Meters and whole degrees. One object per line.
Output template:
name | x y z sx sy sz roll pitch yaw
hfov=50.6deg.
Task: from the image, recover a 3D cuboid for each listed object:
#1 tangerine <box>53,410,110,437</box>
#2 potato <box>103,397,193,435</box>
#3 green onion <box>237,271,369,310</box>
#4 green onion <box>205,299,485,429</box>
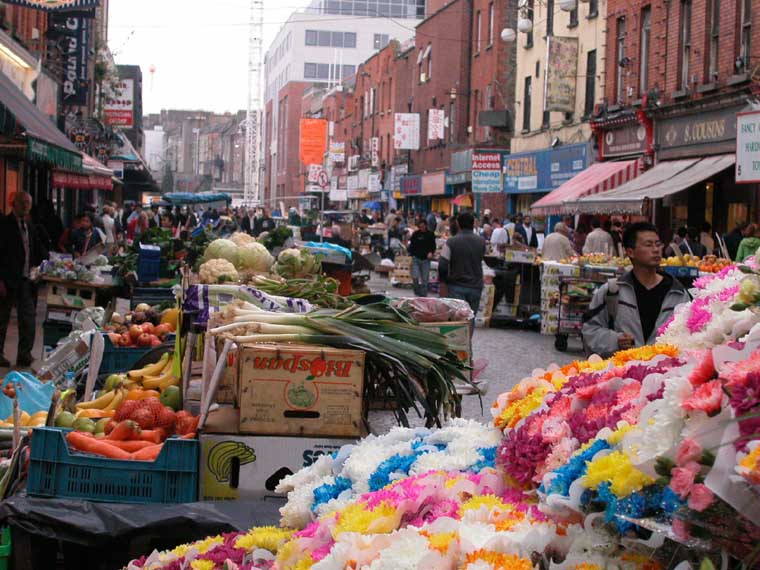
tangerine | -2.032 0.940 5.478 0.204 0.096 0.211 4 -4 41
potato | -1.532 0.892 5.458 0.406 0.243 0.315 6 0 24
green onion | -0.548 0.044 6.195 0.562 0.188 0.422 13 4 -11
green onion | -0.209 0.370 5.237 1.375 0.778 0.859 11 3 -4
